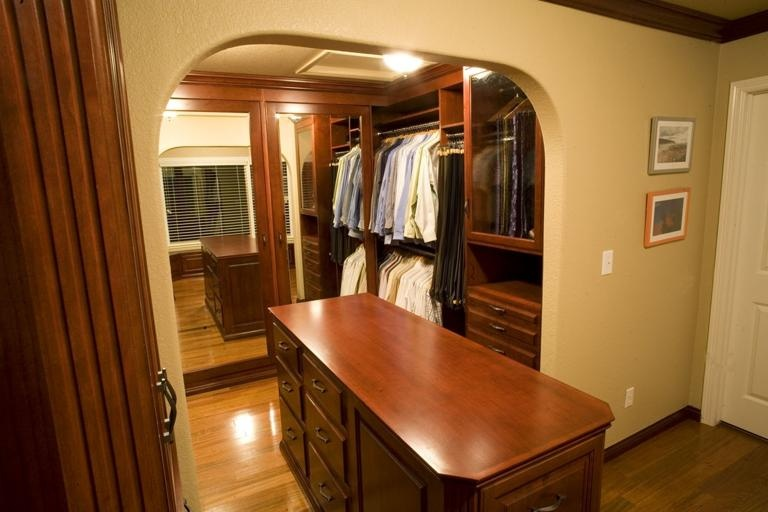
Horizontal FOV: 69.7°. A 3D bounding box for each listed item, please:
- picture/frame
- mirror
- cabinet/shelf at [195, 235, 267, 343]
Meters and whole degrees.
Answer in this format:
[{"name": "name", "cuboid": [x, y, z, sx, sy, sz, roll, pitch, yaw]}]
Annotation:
[{"name": "picture/frame", "cuboid": [1.626, -0.429, 3.175, 0.426, 0.720, 0.092, -12, 17, -39]}, {"name": "mirror", "cuboid": [-0.928, -0.139, 4.003, 1.812, 1.757, 0.621, -12, 21, -34]}, {"name": "cabinet/shelf", "cuboid": [-1.297, 0.298, 4.877, 0.643, 1.143, 1.218, -2, 10, -18]}]
